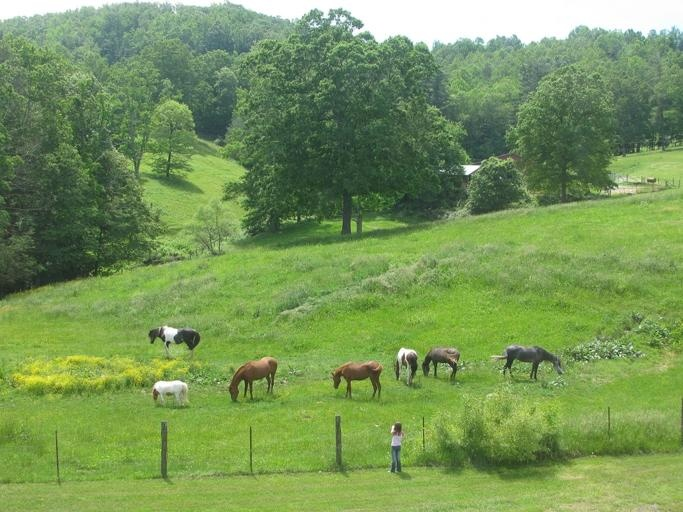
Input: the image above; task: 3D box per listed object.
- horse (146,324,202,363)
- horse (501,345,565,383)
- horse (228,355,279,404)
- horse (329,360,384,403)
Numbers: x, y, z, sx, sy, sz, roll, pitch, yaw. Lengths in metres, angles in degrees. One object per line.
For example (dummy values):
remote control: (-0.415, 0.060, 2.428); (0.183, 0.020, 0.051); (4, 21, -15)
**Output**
horse: (-22.009, 11.260, 183.719); (6.713, 3.923, 4.129); (-3, -3, 23)
horse: (24.343, 13.682, 178.000); (7.252, 4.517, 2.560); (-2, -3, 6)
horse: (-10.945, 15.892, 175.572); (5.177, 5.735, 5.067); (0, 4, 4)
horse: (2.166, 15.662, 174.889); (5.840, 4.464, 2.661); (-2, -3, 2)
